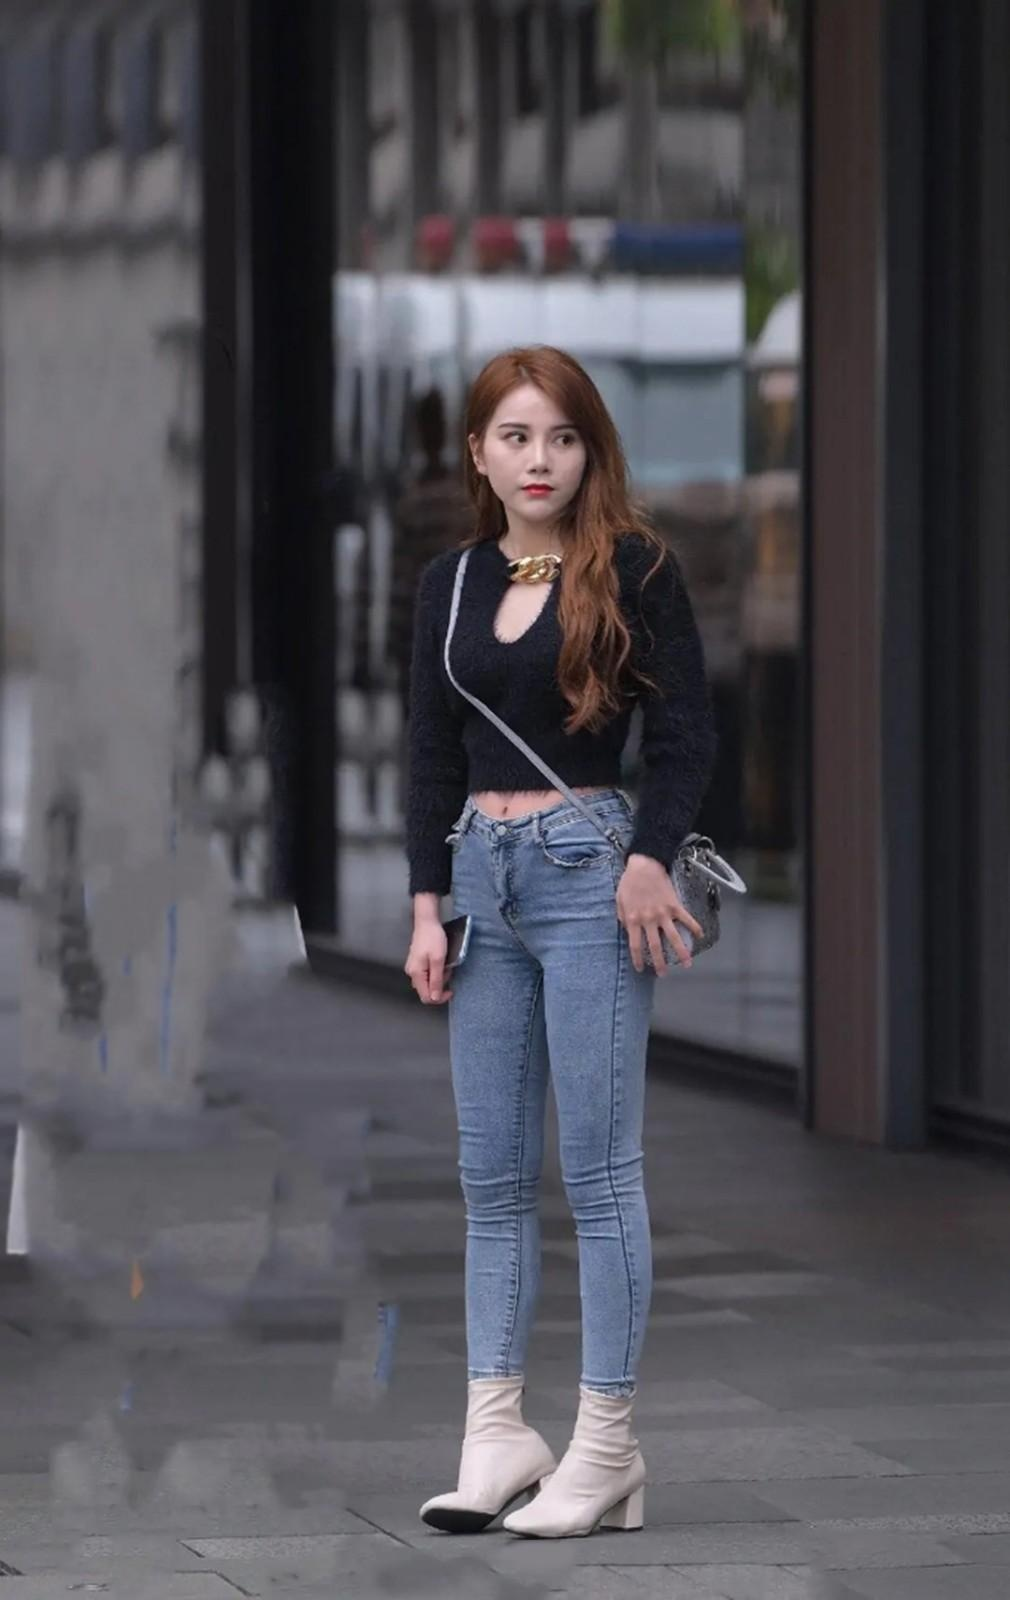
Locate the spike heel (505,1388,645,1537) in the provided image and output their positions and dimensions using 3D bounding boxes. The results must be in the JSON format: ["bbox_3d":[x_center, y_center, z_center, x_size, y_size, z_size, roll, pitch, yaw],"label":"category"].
[{"bbox_3d":[0.100,0.924,2.683,0.215,0.192,0.091,3,-10,-28],"label":"spike heel"}]

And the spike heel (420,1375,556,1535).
[{"bbox_3d":[-0.029,0.919,2.735,0.229,0.189,0.083,2,-21,-43],"label":"spike heel"}]

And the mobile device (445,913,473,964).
[{"bbox_3d":[-0.066,0.197,2.720,0.016,0.059,0.060,7,-13,-34],"label":"mobile device"}]
